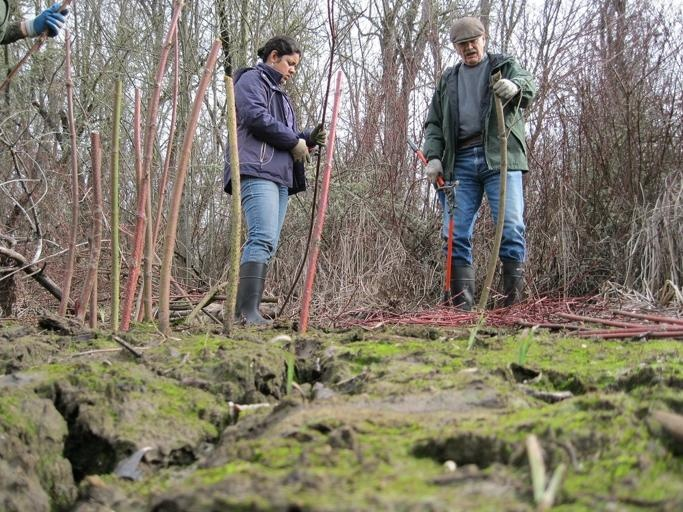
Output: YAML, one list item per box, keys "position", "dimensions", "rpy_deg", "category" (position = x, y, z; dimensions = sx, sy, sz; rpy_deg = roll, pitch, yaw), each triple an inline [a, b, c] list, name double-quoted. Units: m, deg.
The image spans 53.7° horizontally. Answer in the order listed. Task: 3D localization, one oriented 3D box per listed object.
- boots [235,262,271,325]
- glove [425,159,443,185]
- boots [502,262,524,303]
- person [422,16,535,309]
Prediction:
- position: [-0.616, 0.243, 4.600]
  dimensions: [0.213, 0.407, 0.284]
  rpy_deg: [4, -4, -10]
  category: "boots"
- position: [0.730, -0.676, 5.415]
  dimensions: [0.129, 0.195, 0.064]
  rpy_deg: [2, -10, -24]
  category: "glove"
- position: [1.260, 0.201, 4.969]
  dimensions: [0.148, 0.340, 0.288]
  rpy_deg: [2, -4, 14]
  category: "boots"
- position: [1.150, -0.719, 5.172]
  dimensions: [0.699, 2.320, 1.142]
  rpy_deg: [2, -6, -29]
  category: "person"
